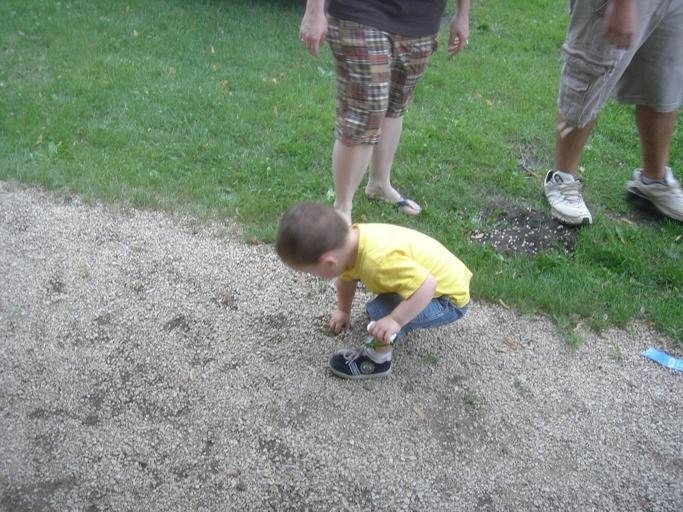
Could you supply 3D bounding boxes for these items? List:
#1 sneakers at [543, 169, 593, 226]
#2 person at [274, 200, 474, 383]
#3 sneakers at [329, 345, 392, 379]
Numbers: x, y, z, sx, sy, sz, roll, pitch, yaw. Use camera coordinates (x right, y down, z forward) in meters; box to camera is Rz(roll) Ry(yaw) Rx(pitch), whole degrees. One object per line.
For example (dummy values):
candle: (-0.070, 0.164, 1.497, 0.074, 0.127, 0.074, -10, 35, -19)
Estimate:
sneakers: (1.708, -0.443, 4.832, 0.174, 0.244, 0.570, -10, 40, -2)
person: (0.223, 0.152, 3.936, 1.066, 1.117, 0.889, -4, 31, -1)
sneakers: (0.112, 0.677, 3.937, 0.387, 0.208, 0.186, 0, 51, -3)
